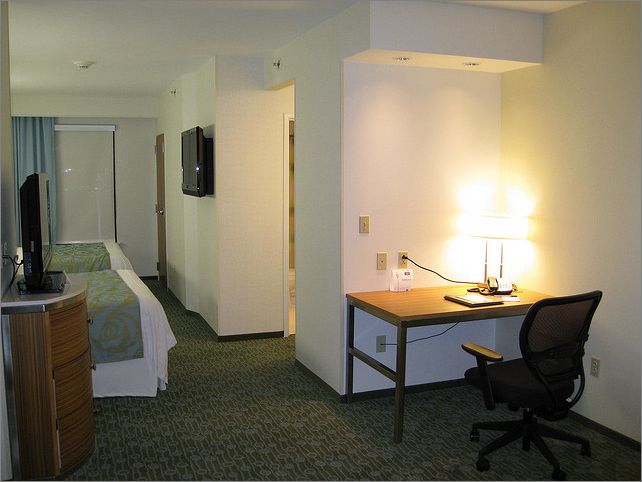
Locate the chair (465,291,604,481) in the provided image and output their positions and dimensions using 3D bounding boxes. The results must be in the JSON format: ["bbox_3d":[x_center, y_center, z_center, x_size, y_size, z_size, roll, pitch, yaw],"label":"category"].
[{"bbox_3d":[1.426,0.921,3.347,0.897,1.238,0.531,2,9,10],"label":"chair"}]

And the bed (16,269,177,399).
[{"bbox_3d":[-1.797,0.817,4.433,0.961,0.534,1.112,0,5,-17],"label":"bed"}]

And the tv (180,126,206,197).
[{"bbox_3d":[-1.497,-0.942,5.837,0.118,0.767,0.906,0,3,-19],"label":"tv"}]
